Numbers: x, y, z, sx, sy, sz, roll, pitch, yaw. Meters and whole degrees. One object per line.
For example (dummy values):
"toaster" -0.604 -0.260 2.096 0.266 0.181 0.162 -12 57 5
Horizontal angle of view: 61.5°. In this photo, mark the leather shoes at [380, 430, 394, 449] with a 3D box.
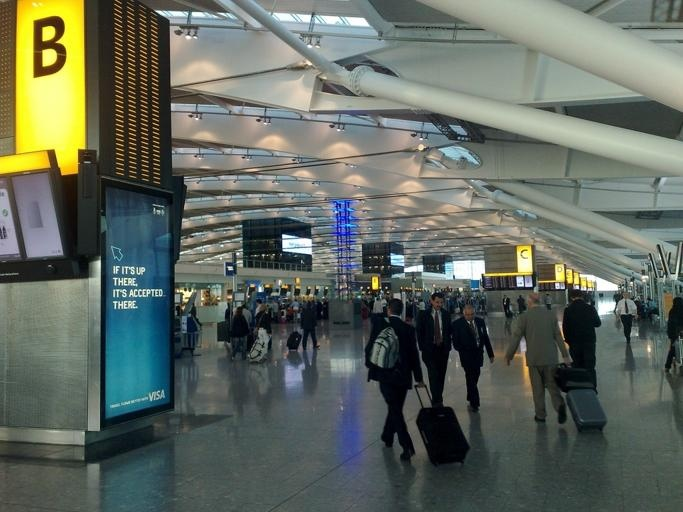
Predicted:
"leather shoes" 0.626 2.580 8.063 0.223 0.229 0.137 -16 -22 16

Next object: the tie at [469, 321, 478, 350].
"tie" 2.358 1.390 10.317 0.152 0.468 0.238 0 -2 -9

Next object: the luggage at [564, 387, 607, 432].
"luggage" 3.599 2.288 8.539 0.525 0.581 0.432 -1 -2 13

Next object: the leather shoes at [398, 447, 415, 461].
"leather shoes" 0.853 2.599 7.608 0.191 0.130 0.287 -1 -2 7

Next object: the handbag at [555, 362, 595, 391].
"handbag" 3.609 1.925 9.024 0.502 0.363 0.768 -1 -2 8

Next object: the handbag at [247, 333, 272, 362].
"handbag" -2.493 2.736 17.505 0.285 0.879 0.713 14 -14 27

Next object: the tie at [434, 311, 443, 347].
"tie" 1.646 1.235 9.916 0.142 0.574 0.184 -1 -1 10
